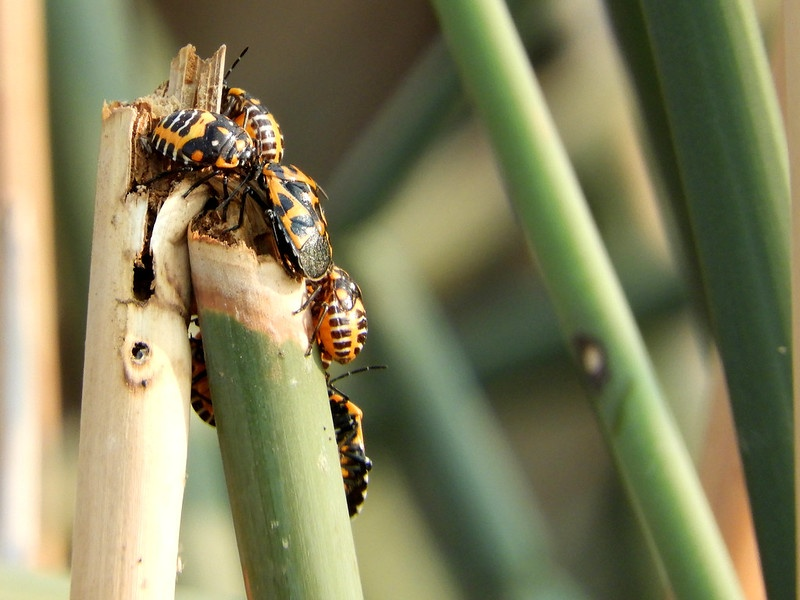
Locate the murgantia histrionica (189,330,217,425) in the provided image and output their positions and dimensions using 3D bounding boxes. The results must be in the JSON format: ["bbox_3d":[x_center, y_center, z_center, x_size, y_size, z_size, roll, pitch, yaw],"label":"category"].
[{"bbox_3d":[-0.254,0.102,1.198,0.020,0.093,0.119,-10,-71,-3],"label":"murgantia histrionica"}]

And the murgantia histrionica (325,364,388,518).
[{"bbox_3d":[-0.067,0.193,1.292,0.039,0.165,0.143,-16,-7,29],"label":"murgantia histrionica"}]

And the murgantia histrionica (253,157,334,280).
[{"bbox_3d":[-0.141,-0.083,1.154,0.035,0.137,0.120,-26,-25,29],"label":"murgantia histrionica"}]

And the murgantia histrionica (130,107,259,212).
[{"bbox_3d":[-0.234,-0.152,1.122,0.105,0.120,0.038,26,-44,-5],"label":"murgantia histrionica"}]

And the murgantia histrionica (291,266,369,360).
[{"bbox_3d":[-0.078,0.022,1.197,0.029,0.120,0.072,-12,-13,34],"label":"murgantia histrionica"}]

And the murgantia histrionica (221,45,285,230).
[{"bbox_3d":[-0.227,-0.238,1.328,0.056,0.221,0.142,-20,-25,31],"label":"murgantia histrionica"}]
